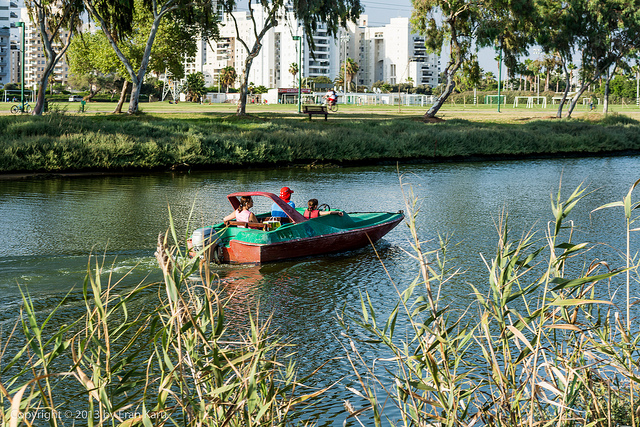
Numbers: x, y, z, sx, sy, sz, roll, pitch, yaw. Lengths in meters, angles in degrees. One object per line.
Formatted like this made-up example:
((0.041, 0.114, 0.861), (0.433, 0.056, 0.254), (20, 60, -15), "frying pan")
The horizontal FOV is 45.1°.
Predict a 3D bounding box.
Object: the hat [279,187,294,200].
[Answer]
((-0.795, -0.463, 17.560), (0.247, 0.201, 0.254), (-3, -3, 14), "hat")

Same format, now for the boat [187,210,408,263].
((-0.368, 0.459, 17.310), (4.880, 1.005, 1.725), (-9, 12, -36), "boat")

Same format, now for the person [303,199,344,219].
((0.050, -0.085, 17.810), (0.748, 0.374, 0.424), (-6, 10, -41), "person")
